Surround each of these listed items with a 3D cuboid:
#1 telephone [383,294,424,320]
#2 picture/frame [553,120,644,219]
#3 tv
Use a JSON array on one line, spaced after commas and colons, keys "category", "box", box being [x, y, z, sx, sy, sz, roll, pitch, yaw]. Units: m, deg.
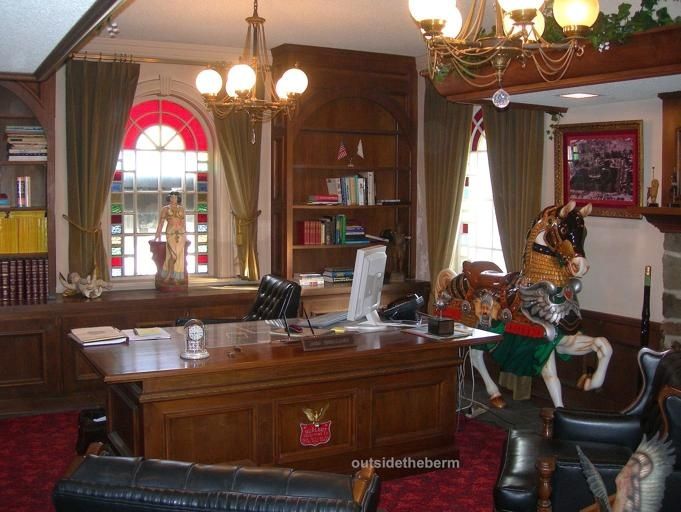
[{"category": "telephone", "box": [0.523, 0.431, 4.588, 0.284, 0.121, 0.216, -1, 4, -3]}, {"category": "picture/frame", "box": [2.417, -0.805, 4.992, 0.046, 0.986, 0.973, -5, 7, -35]}, {"category": "tv", "box": [0.208, 0.292, 4.623, 0.272, 0.716, 0.713, 10, 7, 17]}]
